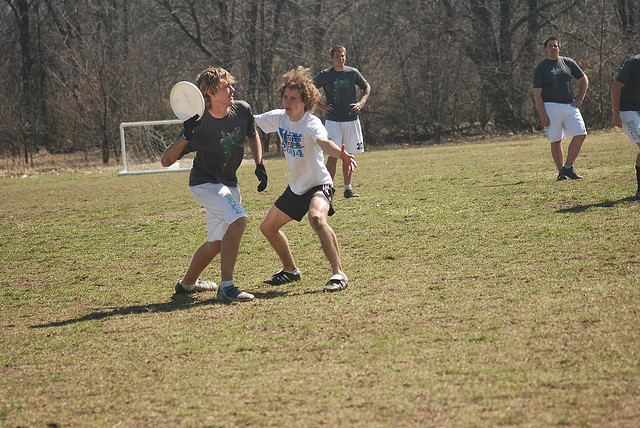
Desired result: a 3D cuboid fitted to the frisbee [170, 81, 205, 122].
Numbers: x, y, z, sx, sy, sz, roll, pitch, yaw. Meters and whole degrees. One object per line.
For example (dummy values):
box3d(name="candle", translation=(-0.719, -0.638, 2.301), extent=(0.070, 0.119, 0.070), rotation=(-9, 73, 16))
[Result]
box3d(name="frisbee", translation=(-2.325, -1.955, 14.645), extent=(0.662, 0.652, 0.154), rotation=(-36, -12, 34))

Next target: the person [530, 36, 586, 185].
box3d(name="person", translation=(5.335, -2.330, 18.834), extent=(1.086, 3.194, 0.883), rotation=(-2, 6, 14))
